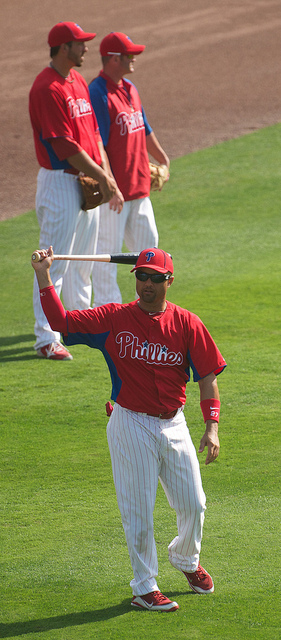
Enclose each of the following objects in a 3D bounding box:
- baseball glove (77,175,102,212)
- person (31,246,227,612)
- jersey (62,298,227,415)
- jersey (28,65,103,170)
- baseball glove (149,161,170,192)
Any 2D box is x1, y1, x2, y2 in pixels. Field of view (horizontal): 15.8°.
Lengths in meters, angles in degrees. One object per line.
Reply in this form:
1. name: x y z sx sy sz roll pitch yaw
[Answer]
1. baseball glove: -0.327 -0.828 6.534 0.072 0.177 0.143 13 28 32
2. person: 0.059 0.450 4.576 0.652 1.363 0.903 -15 28 -28
3. jersey: 0.022 0.174 4.537 0.718 0.532 0.228 2 -11 -5
4. jersey: -0.433 -1.269 6.469 0.484 0.657 0.368 -22 31 -38
5. baseball glove: 0.124 -1.082 7.461 0.114 0.181 0.241 -27 30 9
